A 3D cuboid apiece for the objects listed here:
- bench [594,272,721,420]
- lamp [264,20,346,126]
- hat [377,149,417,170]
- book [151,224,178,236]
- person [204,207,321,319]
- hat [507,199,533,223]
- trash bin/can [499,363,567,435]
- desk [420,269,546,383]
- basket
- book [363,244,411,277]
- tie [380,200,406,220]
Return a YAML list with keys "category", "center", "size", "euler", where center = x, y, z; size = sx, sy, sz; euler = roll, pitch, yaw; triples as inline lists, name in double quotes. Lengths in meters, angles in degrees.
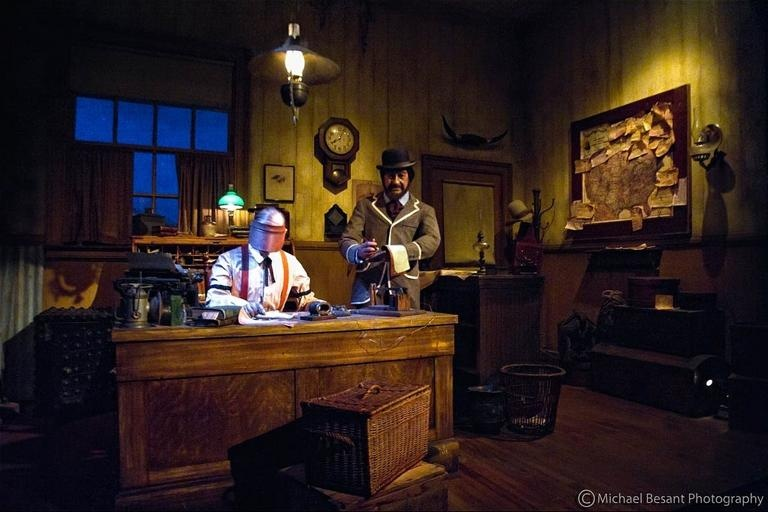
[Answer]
- category: "bench"
  center: [3.049, 1.039, 6.471]
  size: [0.750, 1.358, 1.430]
  euler: [4, -2, -29]
- category: "lamp"
  center: [-0.853, -1.760, 5.599]
  size: [0.722, 0.906, 0.797]
  euler: [1, 6, -2]
- category: "hat"
  center: [0.117, -1.057, 6.499]
  size: [0.531, 0.232, 0.638]
  euler: [-1, 3, 2]
- category: "book"
  center: [-2.517, -0.284, 6.755]
  size: [0.294, 0.110, 0.098]
  euler: [-1, 11, -3]
- category: "person"
  center: [-1.161, 0.058, 5.668]
  size: [1.067, 1.385, 0.964]
  euler: [0, 9, -38]
- category: "hat"
  center: [1.886, -0.604, 8.114]
  size: [0.266, 0.334, 0.720]
  euler: [4, 12, 19]
- category: "trash bin/can"
  center: [1.504, 1.429, 5.889]
  size: [0.608, 0.512, 0.657]
  euler: [-3, -7, 33]
- category: "desk"
  center: [1.076, 0.762, 7.223]
  size: [1.097, 1.677, 1.728]
  euler: [1, -5, -13]
- category: "basket"
  center: [-0.109, 1.382, 4.601]
  size: [0.990, 0.709, 0.527]
  euler: [-9, 14, -36]
- category: "book"
  center: [0.058, 0.063, 5.629]
  size: [0.319, 0.328, 0.140]
  euler: [-15, -17, 11]
- category: "tie"
  center: [0.091, -0.482, 6.168]
  size: [0.159, 0.220, 0.079]
  euler: [7, -10, 5]
